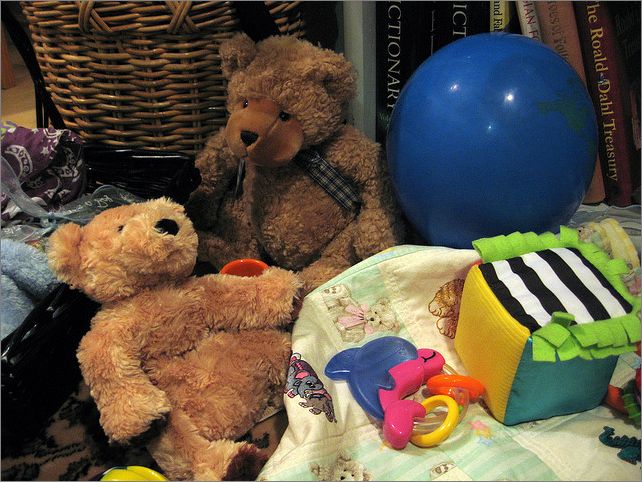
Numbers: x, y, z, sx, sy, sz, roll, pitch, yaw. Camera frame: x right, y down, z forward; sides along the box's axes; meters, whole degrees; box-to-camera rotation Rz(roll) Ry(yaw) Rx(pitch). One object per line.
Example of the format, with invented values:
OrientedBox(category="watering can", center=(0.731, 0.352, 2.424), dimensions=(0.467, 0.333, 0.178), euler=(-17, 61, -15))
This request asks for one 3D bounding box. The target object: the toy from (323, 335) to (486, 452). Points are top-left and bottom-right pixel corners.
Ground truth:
OrientedBox(category="toy", center=(0.139, 0.255, 1.012), dimensions=(0.186, 0.051, 0.201), euler=(-27, 48, -33))

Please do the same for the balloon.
OrientedBox(category="balloon", center=(0.260, -0.219, 1.182), dimensions=(0.406, 0.455, 0.395), euler=(-1, 27, -5))

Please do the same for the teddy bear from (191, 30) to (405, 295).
OrientedBox(category="teddy bear", center=(-0.055, -0.156, 1.199), dimensions=(0.432, 0.414, 0.303), euler=(17, 46, 21))
